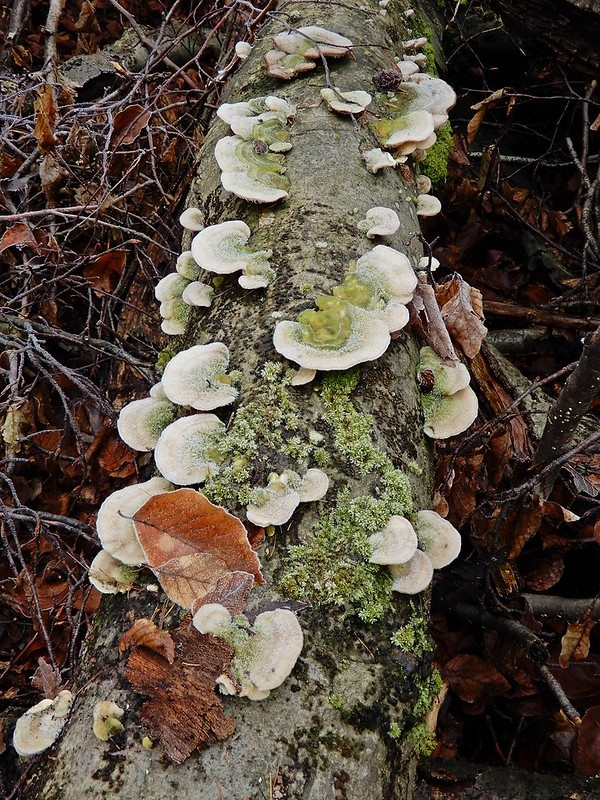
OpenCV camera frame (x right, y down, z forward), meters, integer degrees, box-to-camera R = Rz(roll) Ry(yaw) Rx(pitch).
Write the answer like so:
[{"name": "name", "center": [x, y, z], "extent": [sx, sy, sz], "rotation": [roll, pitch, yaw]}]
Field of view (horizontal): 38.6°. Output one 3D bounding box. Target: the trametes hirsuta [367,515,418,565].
[{"name": "trametes hirsuta", "center": [0.384, 0.586, 3.573], "extent": [0.190, 0.067, 0.219], "rotation": [2, 51, 2]}]

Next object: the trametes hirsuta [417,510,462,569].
[{"name": "trametes hirsuta", "center": [0.603, 0.600, 3.685], "extent": [0.243, 0.050, 0.225], "rotation": [-6, 73, -6]}]

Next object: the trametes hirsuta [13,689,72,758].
[{"name": "trametes hirsuta", "center": [-0.996, 1.266, 3.389], "extent": [0.183, 0.073, 0.271], "rotation": [33, 55, 11]}]

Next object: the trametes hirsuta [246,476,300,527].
[{"name": "trametes hirsuta", "center": [-0.105, 0.399, 3.494], "extent": [0.188, 0.054, 0.250], "rotation": [13, 52, 11]}]

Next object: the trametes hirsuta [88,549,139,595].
[{"name": "trametes hirsuta", "center": [-0.775, 0.738, 3.553], "extent": [0.212, 0.168, 0.133], "rotation": [25, 59, 18]}]
